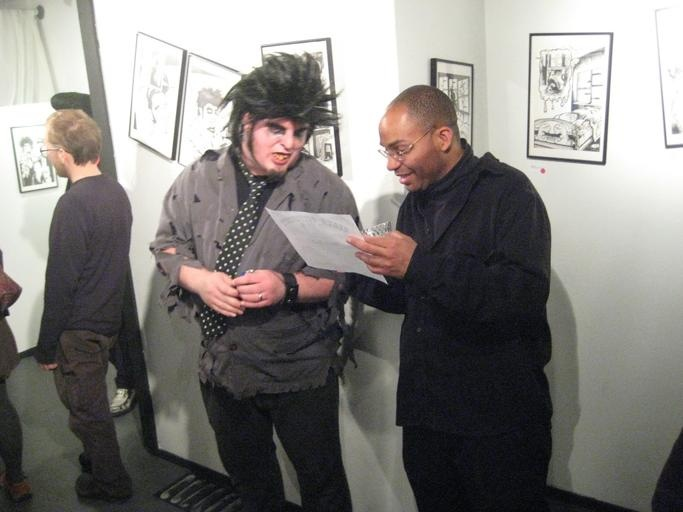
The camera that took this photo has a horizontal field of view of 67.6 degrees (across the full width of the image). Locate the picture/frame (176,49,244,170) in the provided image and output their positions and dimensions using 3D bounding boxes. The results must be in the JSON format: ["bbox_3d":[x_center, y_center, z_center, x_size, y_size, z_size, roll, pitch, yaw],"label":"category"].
[{"bbox_3d":[-0.637,-0.740,2.502,0.544,0.642,0.061,19,21,36],"label":"picture/frame"}]

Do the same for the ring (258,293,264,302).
[{"bbox_3d":[-0.323,0.166,2.035,0.023,0.024,0.025,2,-5,0],"label":"ring"}]

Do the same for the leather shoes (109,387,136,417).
[{"bbox_3d":[-1.402,0.955,3.350,0.113,0.117,0.273,2,4,8],"label":"leather shoes"}]

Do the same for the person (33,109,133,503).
[{"bbox_3d":[-1.381,0.285,2.819,0.426,2.141,0.438,1,11,3],"label":"person"}]

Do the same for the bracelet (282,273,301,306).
[{"bbox_3d":[-0.206,0.139,2.088,0.077,0.115,0.105,-5,20,-18],"label":"bracelet"}]

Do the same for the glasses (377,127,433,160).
[{"bbox_3d":[0.246,-0.407,1.884,0.131,0.039,0.125,-36,16,-17],"label":"glasses"}]

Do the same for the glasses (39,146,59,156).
[{"bbox_3d":[-1.600,-0.574,2.790,0.086,0.027,0.090,8,8,32],"label":"glasses"}]

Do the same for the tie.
[{"bbox_3d":[-0.437,-0.084,2.267,0.191,0.948,0.151,17,0,16],"label":"tie"}]

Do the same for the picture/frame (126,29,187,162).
[{"bbox_3d":[-0.990,-0.892,2.760,0.532,0.652,0.049,31,29,36],"label":"picture/frame"}]
